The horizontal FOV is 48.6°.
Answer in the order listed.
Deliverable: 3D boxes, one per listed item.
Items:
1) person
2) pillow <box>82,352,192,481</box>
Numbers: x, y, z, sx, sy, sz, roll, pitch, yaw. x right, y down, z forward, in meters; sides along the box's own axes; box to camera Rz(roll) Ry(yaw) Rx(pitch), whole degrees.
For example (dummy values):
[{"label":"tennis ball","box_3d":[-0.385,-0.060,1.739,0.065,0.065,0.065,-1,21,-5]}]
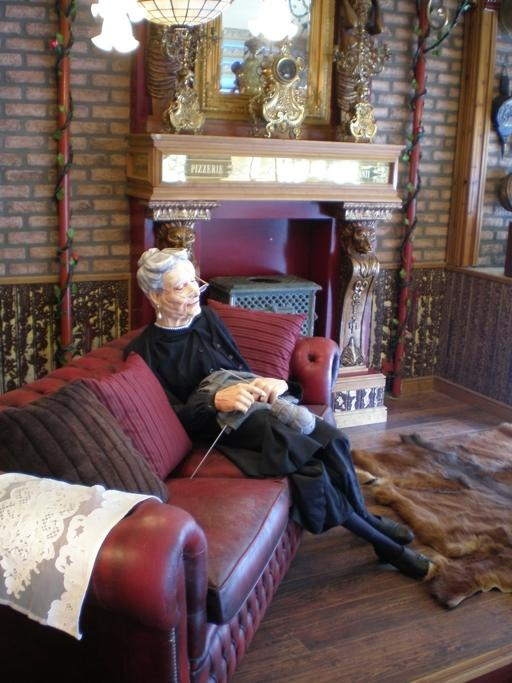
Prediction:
[{"label":"person","box_3d":[0.033,0.218,1.888,0.527,0.771,1.317,-22,36,-34]},{"label":"pillow","box_3d":[-0.314,0.243,1.686,0.105,0.330,0.341,-26,17,9]}]
